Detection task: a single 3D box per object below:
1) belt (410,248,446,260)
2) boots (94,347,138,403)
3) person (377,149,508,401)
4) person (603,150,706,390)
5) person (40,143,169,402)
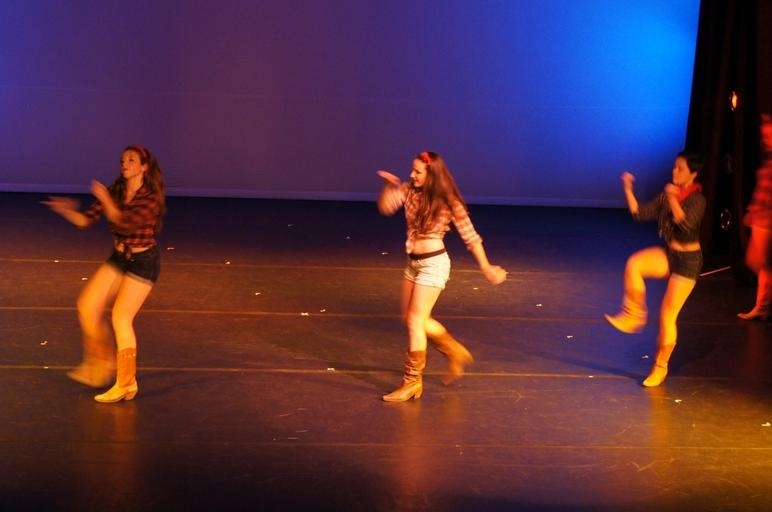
[{"bbox_3d":[0.322,-0.003,4.916,0.281,0.113,0.110,1,25,0],"label":"belt"},{"bbox_3d":[-2.062,0.910,4.841,0.344,0.428,0.242,-12,29,-25],"label":"boots"},{"bbox_3d":[0.379,0.200,5.019,0.850,1.929,0.880,0,26,-1],"label":"person"},{"bbox_3d":[2.353,0.136,5.377,0.631,1.943,0.868,-2,26,-5],"label":"person"},{"bbox_3d":[-2.075,0.164,4.902,0.875,1.902,0.977,-8,27,-18],"label":"person"}]
